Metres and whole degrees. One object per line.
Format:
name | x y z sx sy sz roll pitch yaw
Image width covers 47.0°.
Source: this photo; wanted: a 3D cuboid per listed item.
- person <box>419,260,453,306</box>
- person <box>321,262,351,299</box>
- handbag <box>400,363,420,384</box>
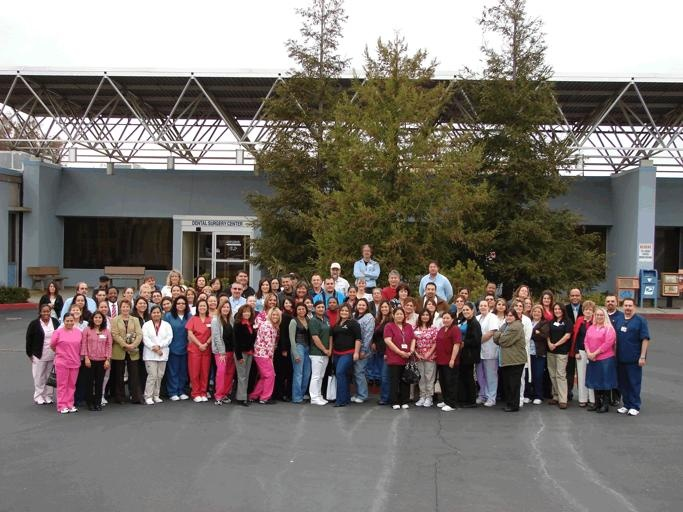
person | 2.543 0.874 21.396 0.863 1.443 0.575 -3 1 20
person | -0.131 1.002 20.932 0.707 1.646 0.510 3 -30 -11
handbag | 1.614 2.771 18.331 0.423 0.526 0.276 2 10 6
